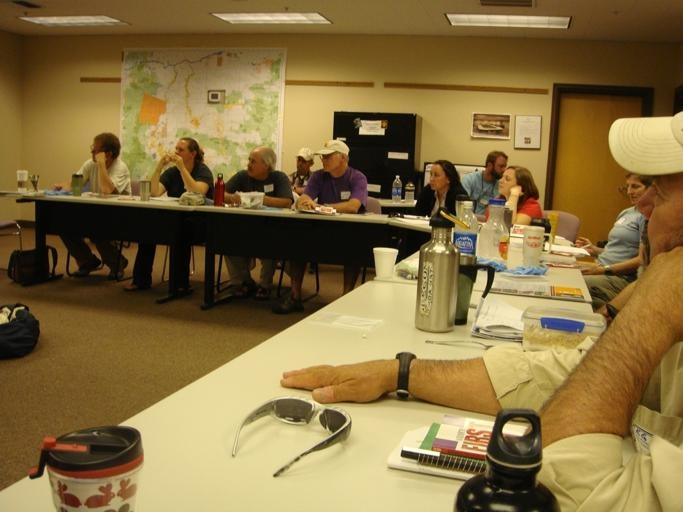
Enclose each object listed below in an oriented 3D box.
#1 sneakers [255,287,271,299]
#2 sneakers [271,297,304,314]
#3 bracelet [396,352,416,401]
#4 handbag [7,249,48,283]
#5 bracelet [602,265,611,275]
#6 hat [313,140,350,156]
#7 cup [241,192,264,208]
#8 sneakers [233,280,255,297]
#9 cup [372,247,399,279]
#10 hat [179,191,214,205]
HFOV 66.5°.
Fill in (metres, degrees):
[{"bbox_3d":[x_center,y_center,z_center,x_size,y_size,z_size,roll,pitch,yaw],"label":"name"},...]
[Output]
[{"bbox_3d":[-0.743,0.358,4.871,0.095,0.074,0.264,0,2,-5],"label":"sneakers"},{"bbox_3d":[-0.468,0.428,4.458,0.272,0.124,0.128,2,2,-20],"label":"sneakers"},{"bbox_3d":[0.137,0.269,1.158,0.054,0.087,0.091,1,-6,4],"label":"bracelet"},{"bbox_3d":[-3.068,0.071,5.165,0.298,0.393,0.409,9,8,44],"label":"handbag"},{"bbox_3d":[1.763,0.102,3.470,0.045,0.067,0.070,10,4,25],"label":"bracelet"},{"bbox_3d":[-0.078,-0.941,4.709,0.338,0.175,0.222,3,5,-17],"label":"hat"},{"bbox_3d":[-0.756,-0.444,4.318,0.135,0.073,0.138,2,9,0],"label":"cup"},{"bbox_3d":[-0.937,0.329,4.969,0.112,0.106,0.246,0,-2,9],"label":"sneakers"},{"bbox_3d":[0.177,0.040,2.282,0.114,0.117,0.117,1,3,0],"label":"cup"},{"bbox_3d":[-1.299,-0.490,4.639,0.188,0.080,0.232,2,3,-2],"label":"hat"}]
